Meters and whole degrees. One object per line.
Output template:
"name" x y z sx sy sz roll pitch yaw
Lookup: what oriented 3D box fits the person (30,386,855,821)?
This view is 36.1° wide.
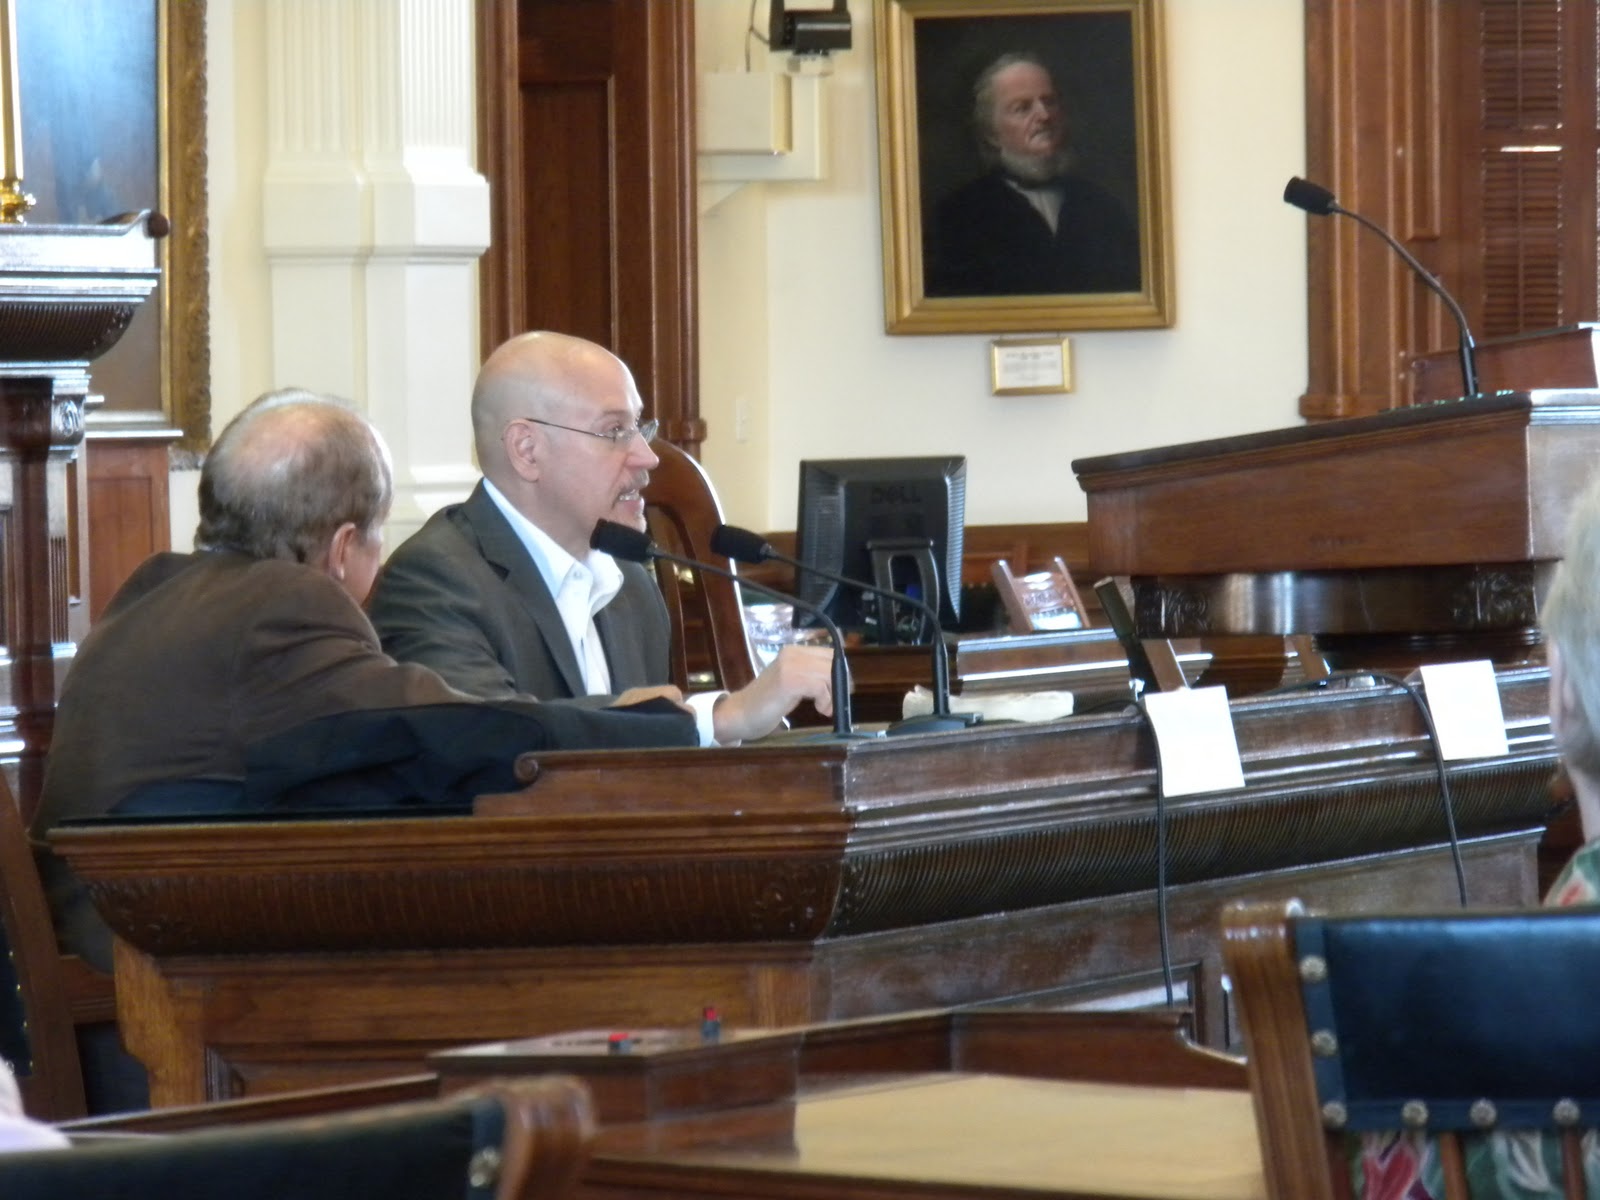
"person" -0.571 0.036 3.267 0.808 0.598 0.611 -1 0 -18

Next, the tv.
"tv" 0.165 -0.112 5.091 0.341 0.433 0.154 1 10 -5
